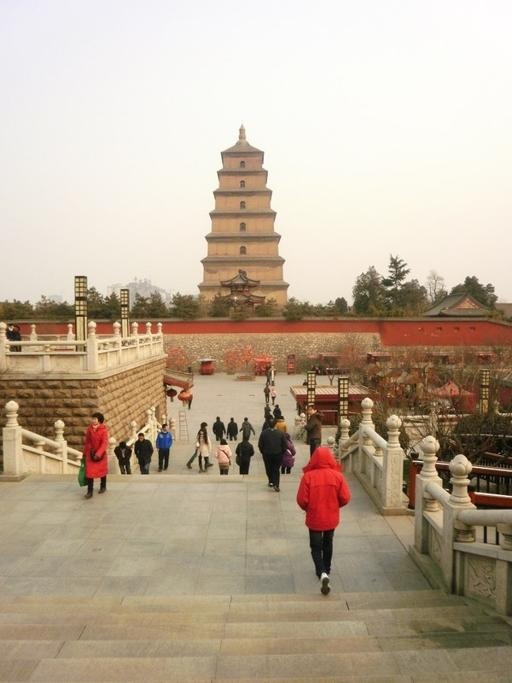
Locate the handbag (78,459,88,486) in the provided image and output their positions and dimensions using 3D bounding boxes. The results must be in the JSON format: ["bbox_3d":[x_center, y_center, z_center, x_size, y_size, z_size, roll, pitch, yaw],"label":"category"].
[{"bbox_3d":[-1.989,1.515,7.102,0.079,0.333,0.210,2,-3,-12],"label":"handbag"}]

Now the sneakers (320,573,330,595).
[{"bbox_3d":[0.513,1.822,4.616,0.052,0.135,0.059,-2,-5,-1],"label":"sneakers"}]

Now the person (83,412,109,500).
[{"bbox_3d":[-1.897,1.349,7.276,0.270,0.994,0.564,2,-3,-15],"label":"person"}]

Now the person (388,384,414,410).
[{"bbox_3d":[5.056,1.946,21.673,0.922,0.579,1.113,0,2,1],"label":"person"}]

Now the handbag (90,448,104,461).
[{"bbox_3d":[-1.815,1.289,7.059,0.126,0.160,0.058,-1,0,-9],"label":"handbag"}]

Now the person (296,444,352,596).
[{"bbox_3d":[0.532,1.399,4.938,0.399,1.064,0.702,1,-3,8],"label":"person"}]

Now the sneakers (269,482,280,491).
[{"bbox_3d":[0.223,1.846,7.746,0.054,0.108,0.156,-1,-17,-10],"label":"sneakers"}]
